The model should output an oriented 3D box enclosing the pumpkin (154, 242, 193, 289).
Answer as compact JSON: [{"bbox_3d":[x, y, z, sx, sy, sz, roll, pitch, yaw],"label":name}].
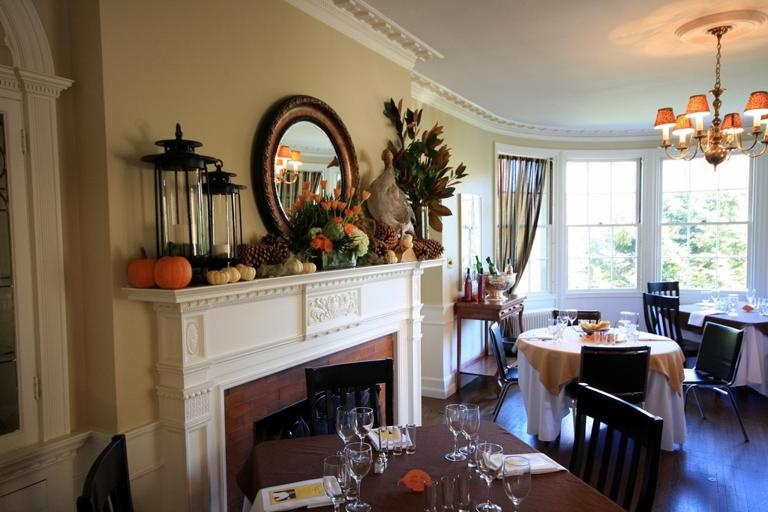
[{"bbox_3d":[-1.158,0.077,2.889,0.182,0.237,0.177,1,0,-42],"label":"pumpkin"}]

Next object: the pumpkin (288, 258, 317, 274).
[{"bbox_3d":[-0.540,0.068,3.470,0.092,0.066,0.132,1,-4,14],"label":"pumpkin"}]

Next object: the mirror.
[{"bbox_3d":[-0.524,-0.626,3.916,0.110,1.093,1.088,6,11,31],"label":"mirror"}]

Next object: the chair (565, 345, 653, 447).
[{"bbox_3d":[1.901,1.126,4.554,0.706,1.009,0.769,4,17,33],"label":"chair"}]

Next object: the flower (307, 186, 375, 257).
[{"bbox_3d":[-0.321,-0.095,3.810,0.455,0.468,0.460,7,1,-11],"label":"flower"}]

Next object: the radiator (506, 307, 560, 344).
[{"bbox_3d":[2.089,0.987,7.494,0.580,0.066,0.379,-21,-37,25],"label":"radiator"}]

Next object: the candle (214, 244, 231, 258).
[{"bbox_3d":[-0.974,-0.024,3.176,0.077,0.061,0.080,1,-2,-4],"label":"candle"}]

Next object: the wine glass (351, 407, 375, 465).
[{"bbox_3d":[-0.123,0.992,2.953,0.147,0.293,0.149,-5,-3,42],"label":"wine glass"}]

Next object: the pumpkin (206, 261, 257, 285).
[{"bbox_3d":[-0.896,0.107,3.157,0.087,0.103,0.349,3,7,39],"label":"pumpkin"}]

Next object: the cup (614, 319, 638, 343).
[{"bbox_3d":[2.229,0.699,4.966,0.205,0.314,0.191,1,-3,0],"label":"cup"}]

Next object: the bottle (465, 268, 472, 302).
[{"bbox_3d":[0.982,0.328,6.157,0.086,0.344,0.234,-1,5,9],"label":"bottle"}]

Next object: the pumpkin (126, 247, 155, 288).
[{"bbox_3d":[-1.350,0.079,2.983,0.168,0.242,0.174,-5,-5,35],"label":"pumpkin"}]

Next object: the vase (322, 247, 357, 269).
[{"bbox_3d":[-0.315,0.040,3.725,0.121,0.108,0.226,-6,-5,39],"label":"vase"}]

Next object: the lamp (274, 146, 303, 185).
[{"bbox_3d":[-0.654,-0.626,3.788,0.175,0.160,0.131,-17,1,10],"label":"lamp"}]

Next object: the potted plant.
[{"bbox_3d":[0.422,-0.830,4.997,0.672,1.243,1.216,-1,5,10],"label":"potted plant"}]

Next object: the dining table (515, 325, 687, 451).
[{"bbox_3d":[1.897,1.084,4.646,1.059,0.678,1.087,1,-1,-16],"label":"dining table"}]

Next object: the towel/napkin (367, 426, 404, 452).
[{"bbox_3d":[0.020,1.072,3.061,0.173,0.162,0.018,1,-18,-35],"label":"towel/napkin"}]

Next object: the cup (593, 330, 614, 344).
[{"bbox_3d":[2.013,0.742,4.842,0.136,0.107,0.116,1,-6,3],"label":"cup"}]

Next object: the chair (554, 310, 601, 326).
[{"bbox_3d":[1.978,0.639,5.441,0.359,0.162,0.270,0,1,32],"label":"chair"}]

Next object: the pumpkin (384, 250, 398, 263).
[{"bbox_3d":[0.052,0.009,4.100,0.030,0.108,0.115,4,7,44],"label":"pumpkin"}]

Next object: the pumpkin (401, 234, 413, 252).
[{"bbox_3d":[0.175,-0.101,4.283,0.097,0.136,0.058,12,-6,-29],"label":"pumpkin"}]
